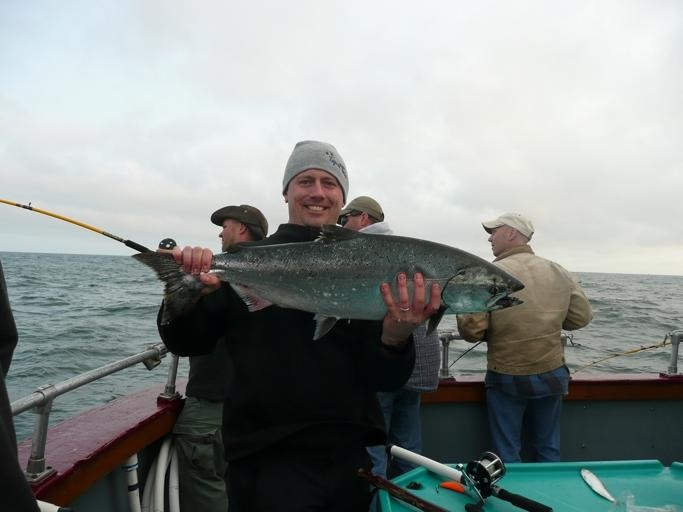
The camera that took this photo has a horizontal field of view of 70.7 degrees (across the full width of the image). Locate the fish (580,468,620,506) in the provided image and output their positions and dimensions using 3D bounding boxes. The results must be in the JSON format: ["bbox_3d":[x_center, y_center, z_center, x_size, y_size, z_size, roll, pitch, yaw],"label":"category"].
[{"bbox_3d":[1.813,1.652,3.433,0.494,0.087,0.174,31,-8,-28],"label":"fish"}]

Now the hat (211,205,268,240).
[{"bbox_3d":[-1.198,-0.467,6.016,0.711,0.263,0.437,11,-5,-3],"label":"hat"}]
